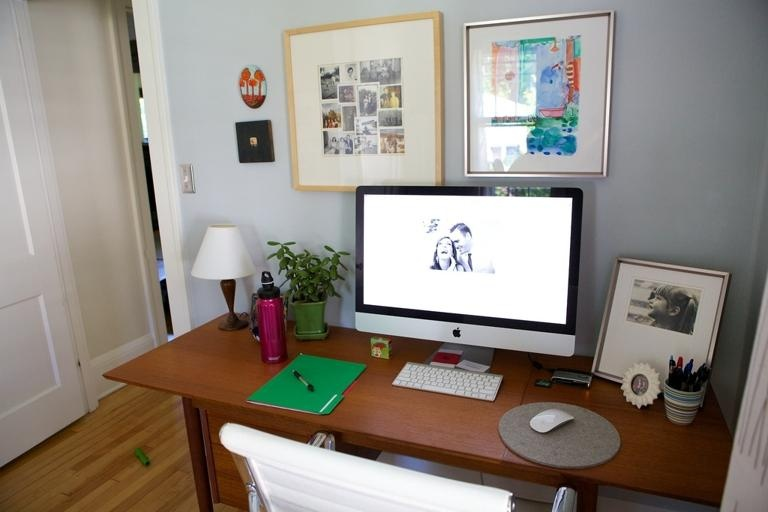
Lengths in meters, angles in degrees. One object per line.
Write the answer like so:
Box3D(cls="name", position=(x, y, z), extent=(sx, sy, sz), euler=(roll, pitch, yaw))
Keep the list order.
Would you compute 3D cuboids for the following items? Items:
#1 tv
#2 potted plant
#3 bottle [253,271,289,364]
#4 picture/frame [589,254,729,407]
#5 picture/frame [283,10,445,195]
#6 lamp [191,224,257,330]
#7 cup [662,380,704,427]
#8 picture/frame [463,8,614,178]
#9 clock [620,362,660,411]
Box3D(cls="tv", position=(0.347, 0.074, 1.964), extent=(0.712, 0.514, 0.059), euler=(4, 9, 20))
Box3D(cls="potted plant", position=(-0.331, 0.155, 2.299), extent=(0.406, 0.407, 0.227), euler=(2, 25, 8))
Box3D(cls="bottle", position=(-0.470, 0.257, 2.123), extent=(0.122, 0.381, 0.121), euler=(0, 17, 0))
Box3D(cls="picture/frame", position=(1.025, 0.285, 1.854), extent=(0.446, 0.590, 0.028), euler=(15, -3, 27))
Box3D(cls="picture/frame", position=(-0.064, -0.696, 2.214), extent=(0.828, 0.784, 0.093), euler=(3, 16, 20))
Box3D(cls="lamp", position=(-0.767, 0.106, 2.466), extent=(0.295, 0.486, 0.303), euler=(8, 16, 31))
Box3D(cls="cup", position=(1.029, 0.507, 1.756), extent=(0.126, 0.138, 0.127), euler=(-3, 14, 1))
Box3D(cls="picture/frame", position=(0.632, -0.664, 2.004), extent=(0.672, 0.714, 0.025), euler=(2, 9, 17))
Box3D(cls="clock", position=(0.916, 0.470, 1.805), extent=(0.013, 0.153, 0.131), euler=(27, 2, -27))
